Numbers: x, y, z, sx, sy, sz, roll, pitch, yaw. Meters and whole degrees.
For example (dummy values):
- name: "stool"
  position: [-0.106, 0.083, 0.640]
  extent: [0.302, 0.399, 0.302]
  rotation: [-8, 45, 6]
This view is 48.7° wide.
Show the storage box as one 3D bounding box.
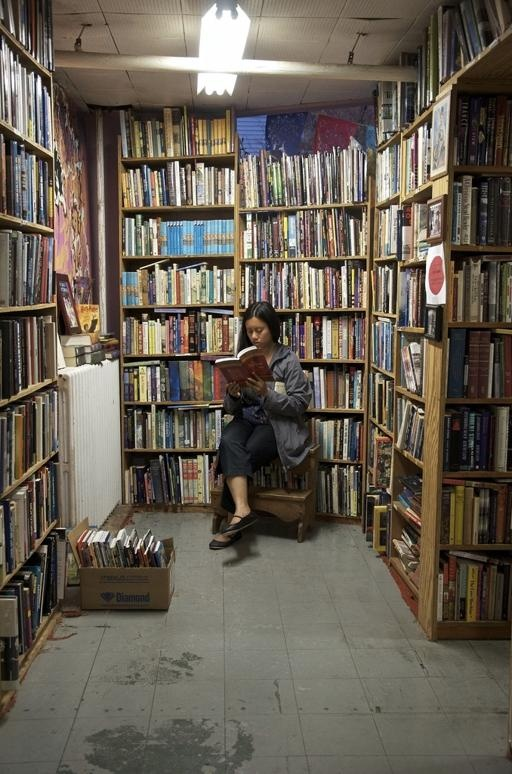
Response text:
- name: "storage box"
  position: [-0.550, 0.705, 2.294]
  extent: [0.367, 0.274, 0.282]
  rotation: [1, 0, -2]
